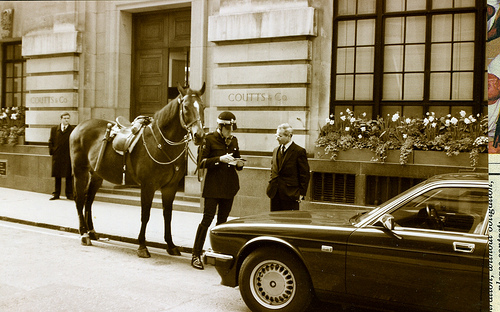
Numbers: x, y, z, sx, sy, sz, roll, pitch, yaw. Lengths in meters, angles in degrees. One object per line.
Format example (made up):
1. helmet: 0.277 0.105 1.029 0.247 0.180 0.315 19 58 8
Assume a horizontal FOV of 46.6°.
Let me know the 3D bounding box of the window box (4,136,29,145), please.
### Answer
1. window box: -8.474 -0.526 21.356 0.560 0.240 0.368 0 -1 2

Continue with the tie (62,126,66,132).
1. tie: -6.132 -0.844 19.069 0.121 0.162 0.038 6 6 21

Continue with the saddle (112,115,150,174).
1. saddle: -2.788 -0.187 13.595 0.620 1.322 1.772 1 -2 -15

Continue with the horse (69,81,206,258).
1. horse: -2.714 0.383 13.974 4.535 3.897 1.469 1 -1 33

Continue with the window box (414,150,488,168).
1. window box: 4.879 0.094 14.281 1.681 0.417 0.418 4 1 11
